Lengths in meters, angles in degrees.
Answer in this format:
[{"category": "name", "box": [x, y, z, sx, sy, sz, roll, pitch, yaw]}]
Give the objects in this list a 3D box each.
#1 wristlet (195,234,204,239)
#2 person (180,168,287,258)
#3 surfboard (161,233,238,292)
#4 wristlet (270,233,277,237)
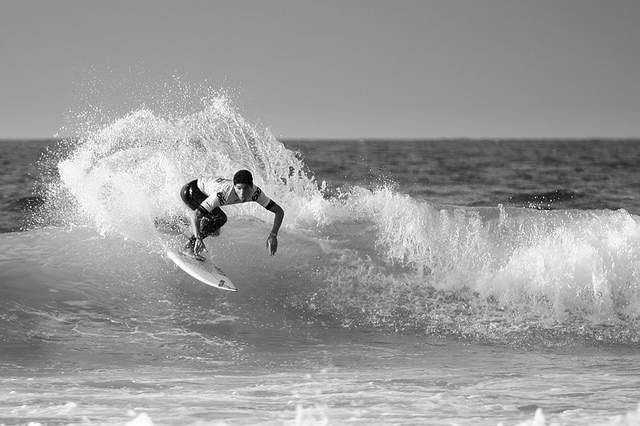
[{"category": "wristlet", "box": [-1.780, 0.349, 10.482, 0.066, 0.070, 0.083, -2, 1, 3]}, {"category": "person", "box": [-1.478, 0.069, 10.652, 0.992, 1.431, 2.091, -2, 6, -33]}, {"category": "surfboard", "box": [-1.958, 0.856, 11.485, 0.559, 0.253, 2.546, -21, 26, -29]}, {"category": "wristlet", "box": [-0.668, 0.318, 10.174, 0.081, 0.055, 0.132, 0, 5, -13]}]
